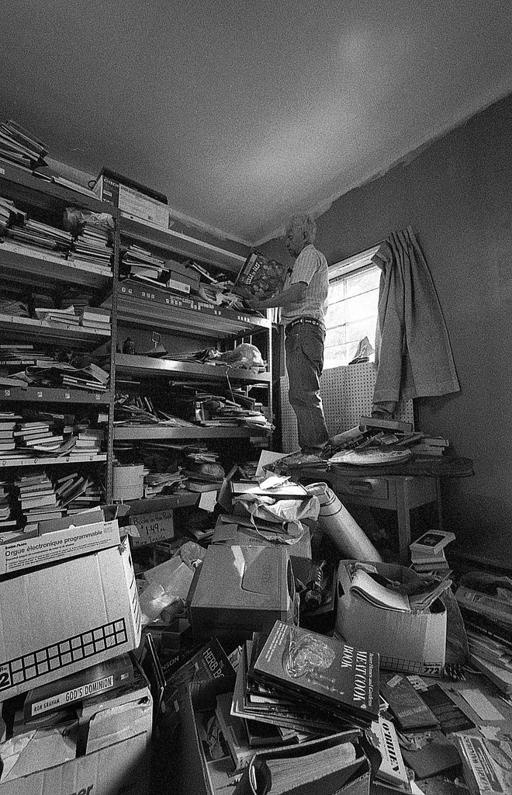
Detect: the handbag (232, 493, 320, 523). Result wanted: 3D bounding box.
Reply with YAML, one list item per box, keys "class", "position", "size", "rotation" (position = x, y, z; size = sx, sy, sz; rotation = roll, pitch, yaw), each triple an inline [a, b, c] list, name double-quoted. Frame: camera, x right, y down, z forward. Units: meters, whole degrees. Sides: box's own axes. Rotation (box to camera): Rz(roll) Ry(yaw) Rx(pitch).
- class: "handbag"
  position: [0.096, 0.411, 1.895]
  size: [0.157, 0.066, 0.160]
  rotation: [11, -14, -28]

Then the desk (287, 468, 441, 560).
- class: "desk"
  position: [0.542, 0.598, 2.258]
  size: [0.290, 0.507, 0.540]
  rotation: [13, -17, -35]
